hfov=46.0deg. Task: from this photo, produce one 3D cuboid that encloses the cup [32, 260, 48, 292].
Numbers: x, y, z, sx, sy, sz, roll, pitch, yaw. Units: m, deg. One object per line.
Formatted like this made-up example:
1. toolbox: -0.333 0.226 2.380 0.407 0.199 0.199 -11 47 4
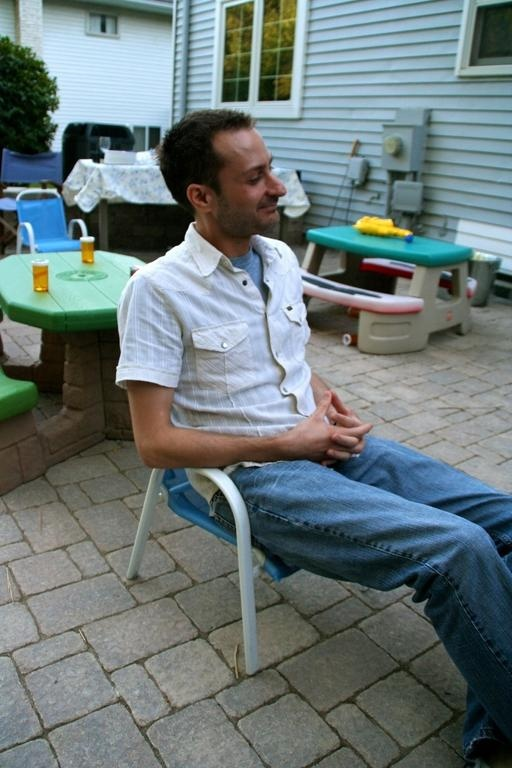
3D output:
1. cup: -0.973 -0.478 2.716 0.068 0.121 0.133 -4 21 -21
